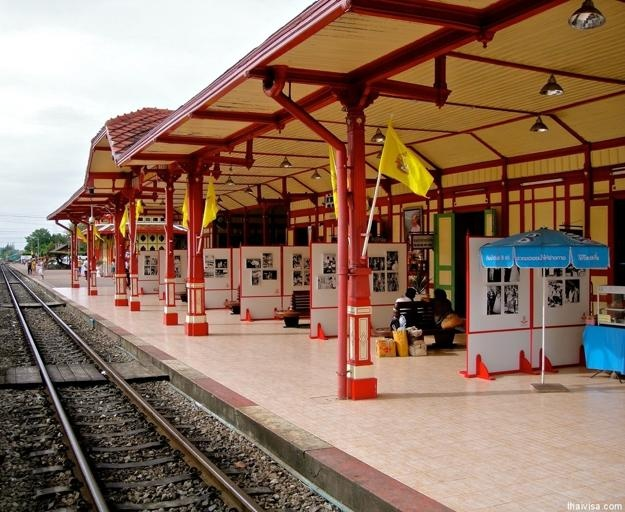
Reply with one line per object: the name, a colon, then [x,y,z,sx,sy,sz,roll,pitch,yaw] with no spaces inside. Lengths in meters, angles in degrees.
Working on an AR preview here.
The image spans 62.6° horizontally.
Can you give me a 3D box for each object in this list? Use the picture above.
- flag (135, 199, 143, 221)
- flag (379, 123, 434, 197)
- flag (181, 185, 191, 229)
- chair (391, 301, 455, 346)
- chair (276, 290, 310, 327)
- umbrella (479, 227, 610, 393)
flag: [-6.888,-1.953,20.185,0.286,0.564,3.414,-5,2,-19]
flag: [1.357,-1.461,7.539,0.737,1.106,0.551,-3,3,10]
flag: [-3.749,-1.412,15.094,0.154,1.123,0.793,-5,3,-18]
chair: [2.700,1.646,12.500,1.399,0.681,0.566,1,-2,-22]
chair: [-0.501,1.698,16.685,1.023,0.999,1.243,1,2,-17]
umbrella: [3.956,0.826,9.437,3.120,2.663,2.704,1,-4,-4]
